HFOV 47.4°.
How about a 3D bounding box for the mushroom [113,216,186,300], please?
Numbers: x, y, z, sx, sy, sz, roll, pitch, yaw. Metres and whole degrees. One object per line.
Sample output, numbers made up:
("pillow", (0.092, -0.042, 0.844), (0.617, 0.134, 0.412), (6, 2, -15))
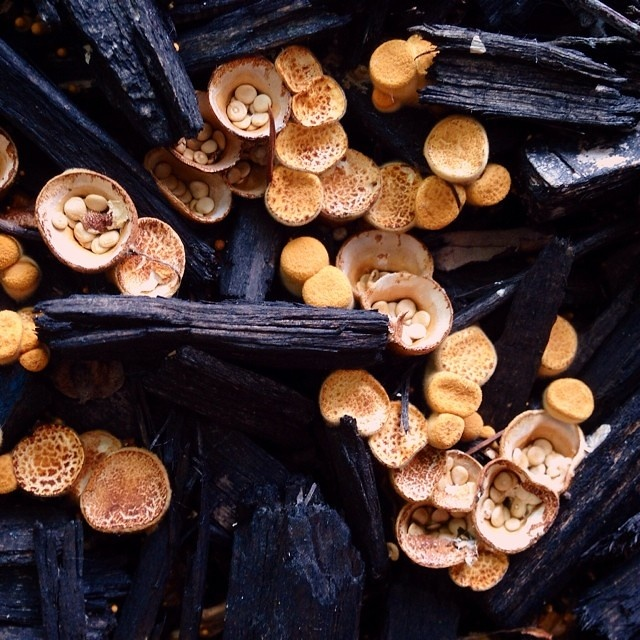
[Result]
("mushroom", (-0.774, -0.286, 3.415), (0.364, 0.157, 0.370), (-5, 95, -25))

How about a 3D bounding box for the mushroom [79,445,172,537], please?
("mushroom", (-0.975, 0.870, 3.665), (0.430, 0.156, 0.421), (5, 73, -13))

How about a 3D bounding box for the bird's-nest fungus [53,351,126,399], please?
("bird's-nest fungus", (-1.124, 0.309, 3.540), (0.350, 0.192, 0.167), (-3, 60, 4))

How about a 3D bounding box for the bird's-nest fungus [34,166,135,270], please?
("bird's-nest fungus", (-1.043, -0.453, 3.288), (0.391, 0.283, 0.421), (34, 68, 23))

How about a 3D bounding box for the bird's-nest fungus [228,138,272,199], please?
("bird's-nest fungus", (-0.354, -0.761, 3.675), (0.276, 0.112, 0.260), (-14, 94, -2))
